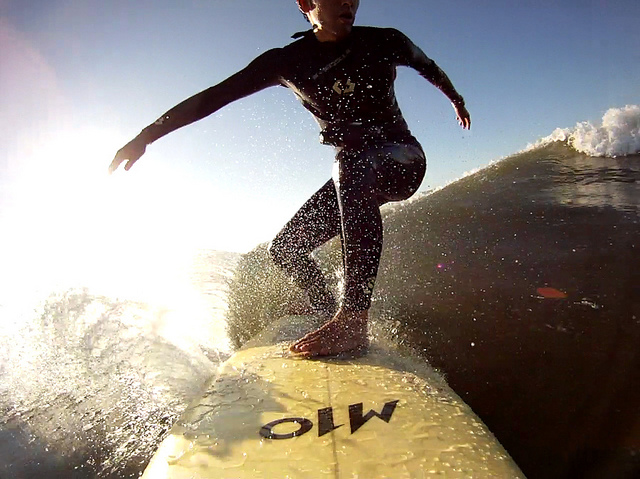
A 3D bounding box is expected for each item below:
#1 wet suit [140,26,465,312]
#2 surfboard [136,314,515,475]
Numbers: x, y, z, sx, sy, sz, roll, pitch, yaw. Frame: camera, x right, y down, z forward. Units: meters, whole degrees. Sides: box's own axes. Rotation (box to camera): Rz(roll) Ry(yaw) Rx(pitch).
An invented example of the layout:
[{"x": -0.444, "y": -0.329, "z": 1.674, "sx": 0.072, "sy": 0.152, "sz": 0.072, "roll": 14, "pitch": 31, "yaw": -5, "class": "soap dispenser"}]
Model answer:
[{"x": 0.085, "y": -0.323, "z": 2.387, "sx": 1.246, "sy": 1.488, "sz": 0.839, "roll": -5, "pitch": 6, "yaw": 13, "class": "wet suit"}, {"x": 0.083, "y": 0.614, "z": 1.675, "sx": 1.161, "sy": 0.327, "sz": 0.849, "roll": -4, "pitch": 7, "yaw": 17, "class": "surfboard"}]
